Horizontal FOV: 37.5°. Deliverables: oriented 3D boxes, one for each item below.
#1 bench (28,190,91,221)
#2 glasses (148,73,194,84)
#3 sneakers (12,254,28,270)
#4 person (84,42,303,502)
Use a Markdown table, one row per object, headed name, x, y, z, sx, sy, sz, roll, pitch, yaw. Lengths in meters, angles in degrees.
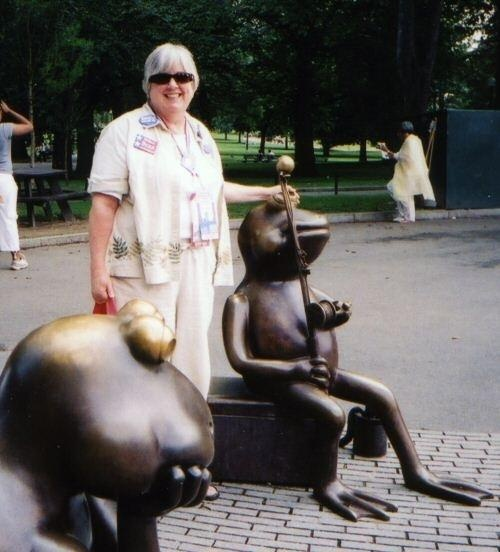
| name | x | y | z | sx | sy | sz | roll | pitch | yaw |
| --- | --- | --- | --- | --- | --- | --- | --- | --- | --- |
| bench | -3.658 | -1.346 | 13.929 | 0.926 | 0.524 | 1.729 | -2 | 8 | 1 |
| glasses | -0.305 | -0.775 | 2.872 | 0.168 | 0.044 | 0.054 | -5 | 11 | -11 |
| sneakers | -2.890 | -0.194 | 9.187 | 0.122 | 0.124 | 0.269 | -1 | 12 | 8 |
| person | -0.348 | -0.209 | 2.991 | 0.645 | 1.421 | 0.386 | -6 | 11 | -19 |
